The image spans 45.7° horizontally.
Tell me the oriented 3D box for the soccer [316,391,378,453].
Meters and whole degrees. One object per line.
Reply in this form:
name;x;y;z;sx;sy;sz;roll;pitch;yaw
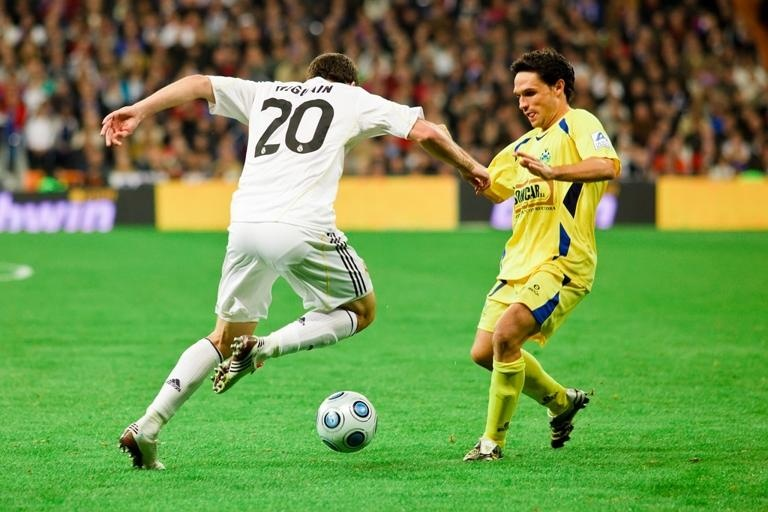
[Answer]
soccer;-0.285;1.264;6.940;0.410;0.447;0.428;5;-15;-3

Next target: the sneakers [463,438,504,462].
sneakers;0.765;1.469;6.937;0.265;0.132;0.148;2;-4;-1

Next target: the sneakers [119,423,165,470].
sneakers;-1.753;1.441;6.810;0.235;0.519;0.186;-5;44;17
